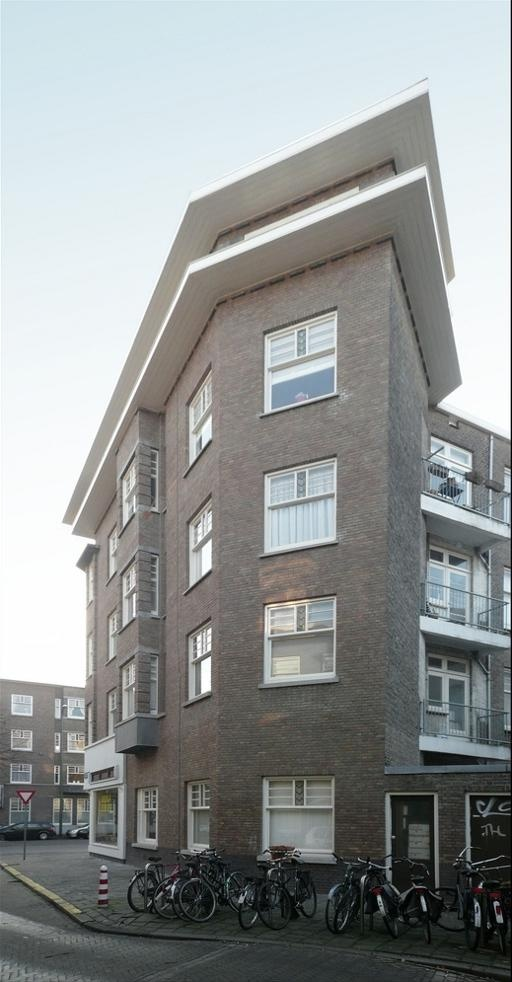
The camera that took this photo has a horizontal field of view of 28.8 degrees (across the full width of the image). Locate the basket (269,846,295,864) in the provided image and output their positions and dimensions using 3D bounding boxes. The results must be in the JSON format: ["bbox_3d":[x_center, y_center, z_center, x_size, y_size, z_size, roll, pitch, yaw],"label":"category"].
[{"bbox_3d":[0.422,6.167,17.015,0.475,0.283,0.493,-6,-17,34],"label":"basket"}]

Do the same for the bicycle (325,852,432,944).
[{"bbox_3d":[1.967,5.724,14.216,0.797,1.252,2.051,-21,-28,36],"label":"bicycle"}]

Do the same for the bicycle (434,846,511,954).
[{"bbox_3d":[3.200,5.665,13.856,0.686,1.280,2.307,2,-19,-1],"label":"bicycle"}]
